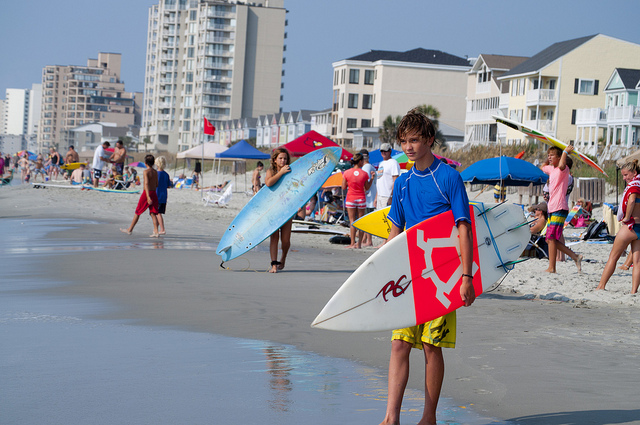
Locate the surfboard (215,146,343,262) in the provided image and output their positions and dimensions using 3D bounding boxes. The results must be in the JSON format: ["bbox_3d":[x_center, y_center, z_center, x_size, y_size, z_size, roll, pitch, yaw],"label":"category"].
[{"bbox_3d":[-1.159,0.067,14.916,0.978,0.313,3.168,-17,-25,-45],"label":"surfboard"}]

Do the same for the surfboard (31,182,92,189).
[{"bbox_3d":[-10.006,-1.054,33.015,1.743,0.160,0.363,0,-4,13],"label":"surfboard"}]

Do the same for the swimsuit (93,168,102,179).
[{"bbox_3d":[-8.384,-1.463,31.980,0.231,0.363,0.357,-1,10,-15],"label":"swimsuit"}]

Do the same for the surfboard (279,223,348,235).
[{"bbox_3d":[-0.113,0.371,19.515,0.901,0.131,0.214,11,-9,1],"label":"surfboard"}]

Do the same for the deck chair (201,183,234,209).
[{"bbox_3d":[-3.599,-0.549,29.318,1.219,1.199,0.829,5,2,7],"label":"deck chair"}]

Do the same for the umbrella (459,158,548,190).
[{"bbox_3d":[5.097,-1.057,22.972,2.224,0.820,2.299,-2,-11,12],"label":"umbrella"}]

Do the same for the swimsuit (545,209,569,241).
[{"bbox_3d":[4.137,0.200,14.784,0.304,0.658,0.485,6,2,2],"label":"swimsuit"}]

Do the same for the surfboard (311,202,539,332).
[{"bbox_3d":[1.094,0.639,8.836,2.857,0.979,0.535,-30,-33,28],"label":"surfboard"}]

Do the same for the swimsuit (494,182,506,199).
[{"bbox_3d":[5.098,-0.630,23.841,0.397,0.527,0.303,5,10,20],"label":"swimsuit"}]

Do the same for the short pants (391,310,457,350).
[{"bbox_3d":[1.098,1.212,8.751,0.565,0.388,0.365,-12,14,-26],"label":"short pants"}]

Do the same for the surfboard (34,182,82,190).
[{"bbox_3d":[-10.030,-1.006,32.500,2.726,0.464,0.384,1,4,38],"label":"surfboard"}]

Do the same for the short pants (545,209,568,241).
[{"bbox_3d":[4.117,0.198,14.674,0.322,0.573,0.308,5,10,15],"label":"short pants"}]

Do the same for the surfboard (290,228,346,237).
[{"bbox_3d":[-0.004,0.462,20.662,1.053,0.060,0.248,7,-2,-2],"label":"surfboard"}]

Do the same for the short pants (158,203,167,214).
[{"bbox_3d":[-3.461,-0.087,18.670,0.204,0.270,0.154,-4,13,-41],"label":"short pants"}]

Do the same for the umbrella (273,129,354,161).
[{"bbox_3d":[-0.724,-1.968,24.085,1.324,0.662,1.909,0,0,42],"label":"umbrella"}]

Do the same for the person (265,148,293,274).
[{"bbox_3d":[-0.713,-0.021,14.669,0.570,2.159,0.613,3,-2,-38],"label":"person"}]

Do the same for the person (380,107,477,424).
[{"bbox_3d":[1.167,0.548,8.881,0.903,3.210,1.182,3,10,4],"label":"person"}]

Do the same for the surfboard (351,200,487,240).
[{"bbox_3d":[1.344,0.046,12.010,1.969,0.650,0.187,-11,-2,1],"label":"surfboard"}]

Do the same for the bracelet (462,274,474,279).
[{"bbox_3d":[1.520,0.643,8.674,0.098,0.042,0.060,2,10,-1],"label":"bracelet"}]

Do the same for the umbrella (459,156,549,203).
[{"bbox_3d":[5.014,-0.949,23.033,2.275,1.337,2.252,2,2,6],"label":"umbrella"}]

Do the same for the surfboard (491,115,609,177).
[{"bbox_3d":[3.914,-1.328,15.033,1.734,0.740,2.531,4,10,11],"label":"surfboard"}]

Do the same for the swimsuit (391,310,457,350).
[{"bbox_3d":[1.192,1.222,8.903,0.615,0.437,0.356,-7,-22,38],"label":"swimsuit"}]

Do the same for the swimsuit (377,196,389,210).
[{"bbox_3d":[1.367,-0.226,18.399,0.214,0.369,0.369,1,1,-20],"label":"swimsuit"}]

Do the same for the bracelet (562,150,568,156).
[{"bbox_3d":[4.164,-1.003,14.320,0.071,0.028,0.068,22,2,2],"label":"bracelet"}]
